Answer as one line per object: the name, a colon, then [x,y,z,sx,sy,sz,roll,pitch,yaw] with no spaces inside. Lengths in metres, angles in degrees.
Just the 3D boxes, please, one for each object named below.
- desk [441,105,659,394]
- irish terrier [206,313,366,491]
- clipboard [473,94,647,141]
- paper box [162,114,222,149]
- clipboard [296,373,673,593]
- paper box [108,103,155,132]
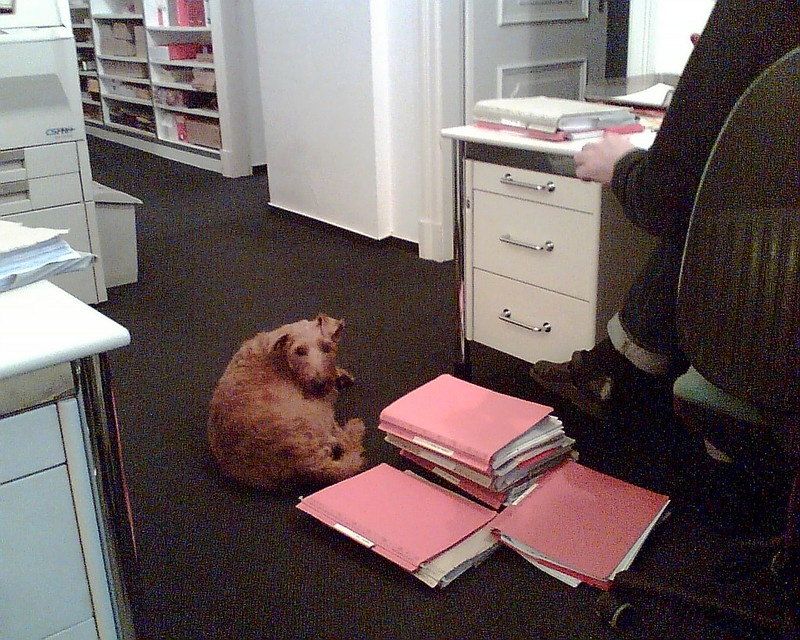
desk: [0.581,-0.280,2.247,0.564,0.869,0.729,-22,30,-39]
irish terrier: [-0.367,0.227,2.212,0.497,0.334,0.810,5,26,-5]
clipboard: [0.496,-0.623,2.009,0.373,0.108,0.438,-18,36,-28]
paper box: [-1.764,-1.621,5.685,0.378,0.142,0.380,18,32,24]
clipboard: [0.264,0.400,1.794,0.886,0.197,0.782,7,21,22]
paper box: [-2.659,-2.030,6.624,0.382,0.390,0.095,-8,-15,20]
